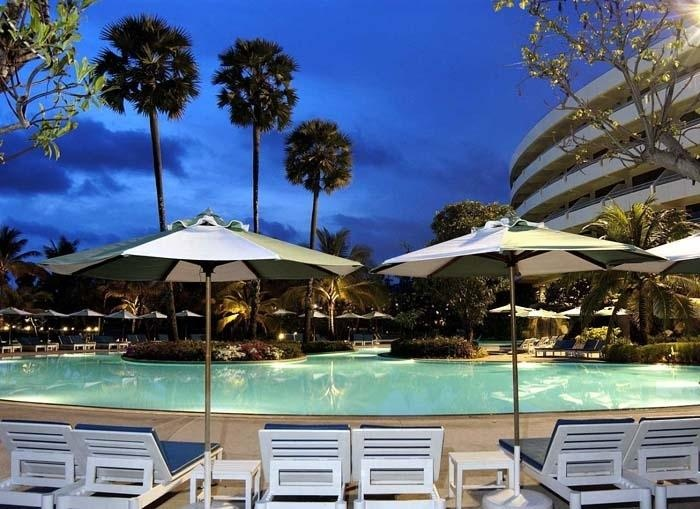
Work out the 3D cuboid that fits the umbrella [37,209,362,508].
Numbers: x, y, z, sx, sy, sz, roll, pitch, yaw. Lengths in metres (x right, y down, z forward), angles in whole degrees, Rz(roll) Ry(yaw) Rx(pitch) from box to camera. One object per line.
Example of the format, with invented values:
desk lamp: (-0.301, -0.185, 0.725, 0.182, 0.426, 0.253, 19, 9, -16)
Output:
umbrella: (-1.910, 1.330, 7.911, 3.243, 3.783, 3.165, -10, -13, 36)
